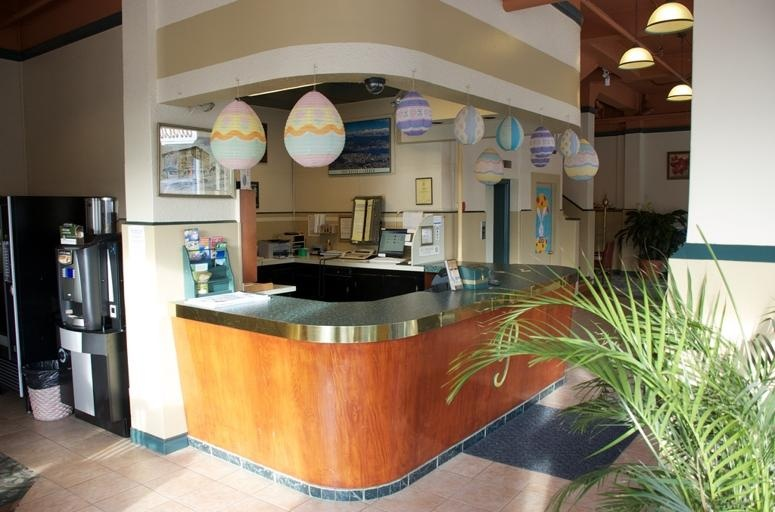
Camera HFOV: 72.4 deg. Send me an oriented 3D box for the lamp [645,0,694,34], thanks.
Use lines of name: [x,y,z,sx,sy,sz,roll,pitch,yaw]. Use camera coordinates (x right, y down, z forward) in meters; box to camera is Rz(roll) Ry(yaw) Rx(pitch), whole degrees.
lamp: [3.233,-2.747,6.055,0.461,0.361,0.453,4,13,24]

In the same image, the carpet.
carpet: [1.613,1.827,5.140,1.227,0.010,1.374,-1,6,28]

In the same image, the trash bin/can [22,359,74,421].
trash bin/can: [-3.785,1.511,6.110,0.590,0.642,0.617,-8,3,-39]

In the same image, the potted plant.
potted plant: [6.887,-0.318,13.716,1.643,1.539,3.480,4,13,23]

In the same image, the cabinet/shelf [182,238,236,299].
cabinet/shelf: [-1.832,0.141,5.342,0.264,0.741,0.549,2,6,33]

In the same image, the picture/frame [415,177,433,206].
picture/frame: [0.621,-1.075,8.805,0.466,0.635,0.029,3,5,37]
